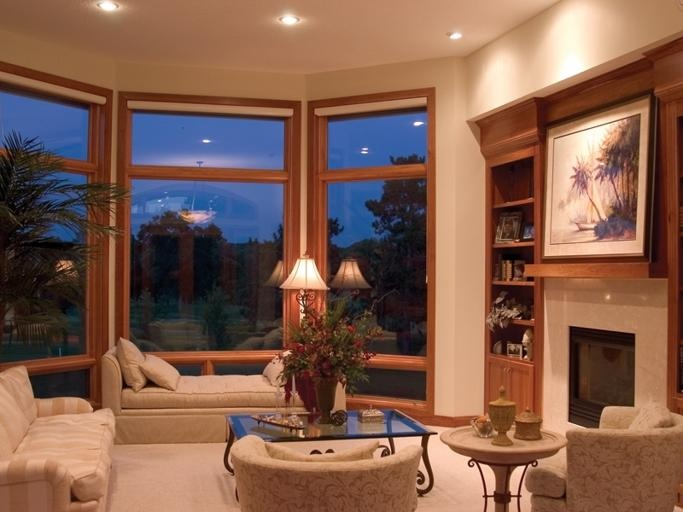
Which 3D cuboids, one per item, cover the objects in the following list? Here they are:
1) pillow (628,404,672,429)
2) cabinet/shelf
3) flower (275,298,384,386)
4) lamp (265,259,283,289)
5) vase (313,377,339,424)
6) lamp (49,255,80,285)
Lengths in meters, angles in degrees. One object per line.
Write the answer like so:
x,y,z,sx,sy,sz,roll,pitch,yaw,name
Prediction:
2.018,1.064,3.629,0.213,0.071,0.203,-18,13,27,pillow
1.862,0.308,5.991,0.513,2.846,0.849,0,-1,5,cabinet/shelf
-0.089,0.726,4.578,0.794,0.716,0.315,0,-1,-2,flower
-0.806,0.238,6.973,0.271,0.277,0.248,18,-14,-41,lamp
-0.128,1.201,4.577,0.301,0.339,0.301,0,-22,-4,vase
-2.454,0.121,5.012,0.278,0.303,0.282,2,3,44,lamp
